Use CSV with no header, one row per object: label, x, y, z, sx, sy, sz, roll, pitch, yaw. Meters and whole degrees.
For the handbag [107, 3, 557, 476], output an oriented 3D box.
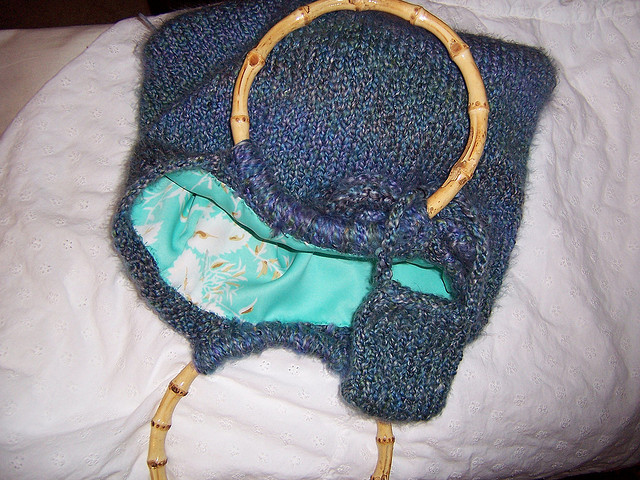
handbag,-0.018,-0.029,1.168,0.813,0.276,0.893,13,78,3
